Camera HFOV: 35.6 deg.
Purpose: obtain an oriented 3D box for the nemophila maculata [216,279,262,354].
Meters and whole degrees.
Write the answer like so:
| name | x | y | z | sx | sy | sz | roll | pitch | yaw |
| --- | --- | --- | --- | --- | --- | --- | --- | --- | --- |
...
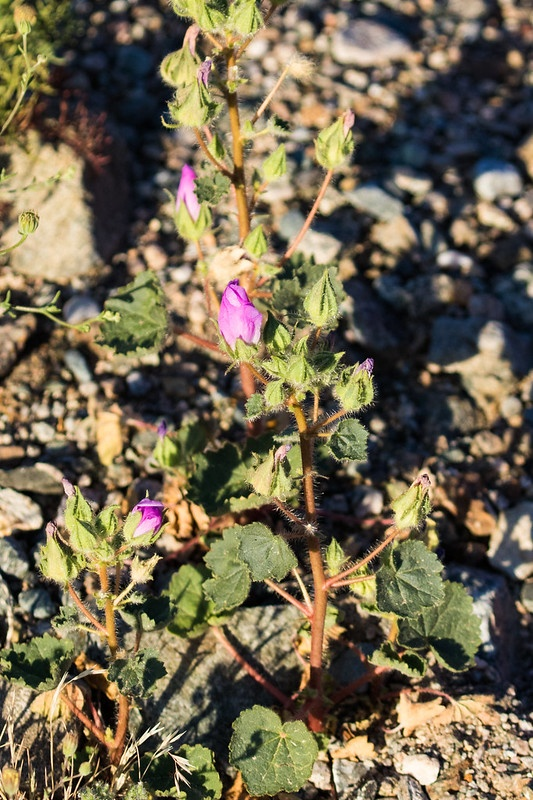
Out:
| name | x | y | z | sx | sy | sz | roll | pitch | yaw |
| --- | --- | --- | --- | --- | --- | --- | --- | --- | --- |
| nemophila maculata | -0.089 | -0.288 | 2.752 | 0.130 | 0.220 | 0.148 | -27 | 48 | -23 |
